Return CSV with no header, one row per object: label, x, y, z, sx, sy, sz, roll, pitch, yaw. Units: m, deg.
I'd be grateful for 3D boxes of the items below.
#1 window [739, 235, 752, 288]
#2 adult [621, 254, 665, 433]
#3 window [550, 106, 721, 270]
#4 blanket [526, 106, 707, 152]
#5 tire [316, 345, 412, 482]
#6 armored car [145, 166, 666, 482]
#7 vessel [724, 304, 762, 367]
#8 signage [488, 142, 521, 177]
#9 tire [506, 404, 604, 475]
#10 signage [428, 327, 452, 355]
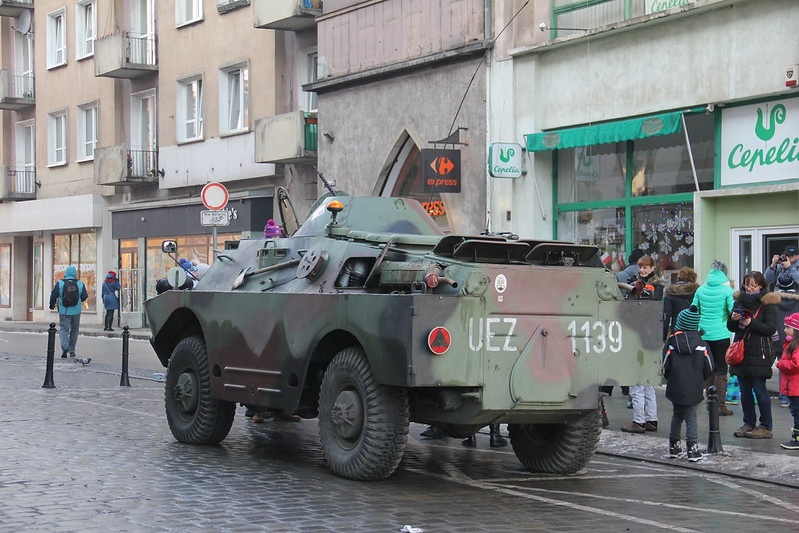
window,6.842,0.013,21.251,0.320,0.174,1.686,0,45,18
adult,3.828,1.416,17.100,0.561,2.454,0.671,10,19,38
window,5.113,-1.705,22.508,0.084,2.504,3.338,0,1,-35
blanket,4.465,-2.931,23.310,3.802,0.514,0.421,-1,-3,44
tire,-0.410,1.907,14.032,0.618,1.705,1.423,3,4,-36
armored car,-0.330,0.927,15.643,3.497,3.477,6.124,3,-5,-36
vessel,5.457,1.063,16.949,0.228,1.014,0.168,10,12,-46
signage,2.434,-2.431,24.560,0.665,0.686,0.230,1,-1,-19
tire,2.167,2.425,14.877,0.969,1.135,0.921,3,-3,-28
signage,0.519,0.933,13.505,0.228,0.253,0.031,26,-13,-25
